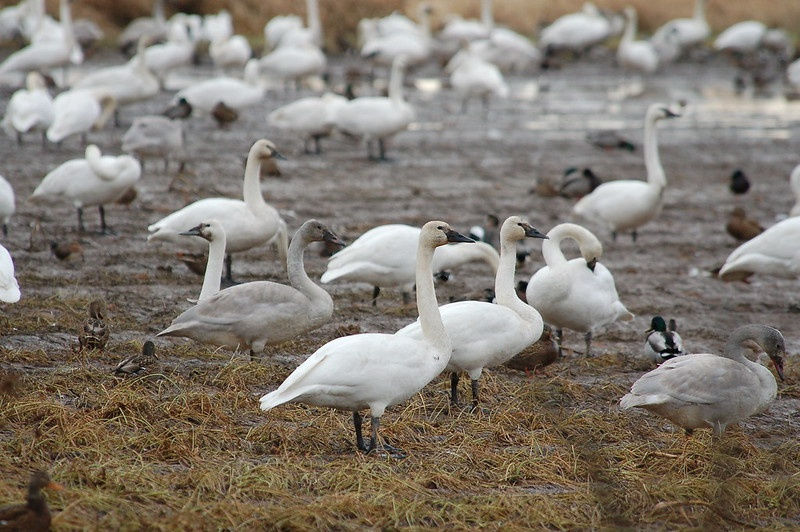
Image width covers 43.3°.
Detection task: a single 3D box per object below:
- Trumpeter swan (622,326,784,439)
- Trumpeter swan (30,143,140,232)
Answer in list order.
[{"bbox_3d":[3.503,1.398,11.614,2.250,1.371,1.049,2,-2,-19],"label":"Trumpeter swan"},{"bbox_3d":[-5.060,-1.257,16.402,1.566,1.408,0.643,1,7,-8],"label":"Trumpeter swan"}]
